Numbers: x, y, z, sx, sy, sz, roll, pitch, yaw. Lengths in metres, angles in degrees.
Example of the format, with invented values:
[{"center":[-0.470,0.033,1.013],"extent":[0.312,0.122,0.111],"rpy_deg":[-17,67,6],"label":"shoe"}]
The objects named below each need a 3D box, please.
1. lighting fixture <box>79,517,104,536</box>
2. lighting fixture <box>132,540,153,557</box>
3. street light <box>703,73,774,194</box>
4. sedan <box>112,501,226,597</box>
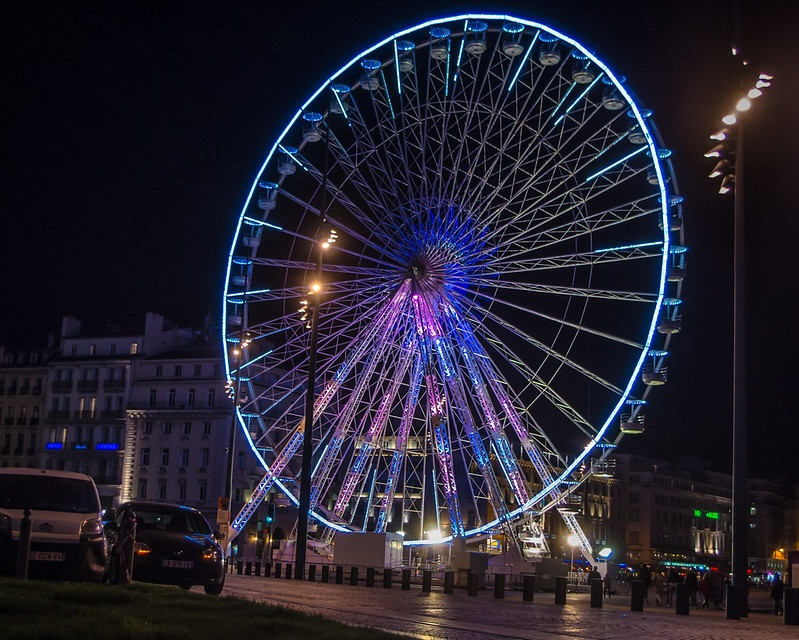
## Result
[{"center":[-5.835,3.873,16.752],"extent":[0.380,0.304,0.657],"rpy_deg":[3,-4,-20],"label":"lighting fixture"},{"center":[-5.692,5.029,19.639],"extent":[0.305,0.157,0.422],"rpy_deg":[11,-6,-43],"label":"lighting fixture"},{"center":[10.392,-5.385,27.509],"extent":[1.525,3.522,2.565],"rpy_deg":[2,-18,3],"label":"street light"},{"center":[-5.241,5.122,20.224],"extent":[2.578,1.940,1.888],"rpy_deg":[7,-18,-12],"label":"sedan"}]
